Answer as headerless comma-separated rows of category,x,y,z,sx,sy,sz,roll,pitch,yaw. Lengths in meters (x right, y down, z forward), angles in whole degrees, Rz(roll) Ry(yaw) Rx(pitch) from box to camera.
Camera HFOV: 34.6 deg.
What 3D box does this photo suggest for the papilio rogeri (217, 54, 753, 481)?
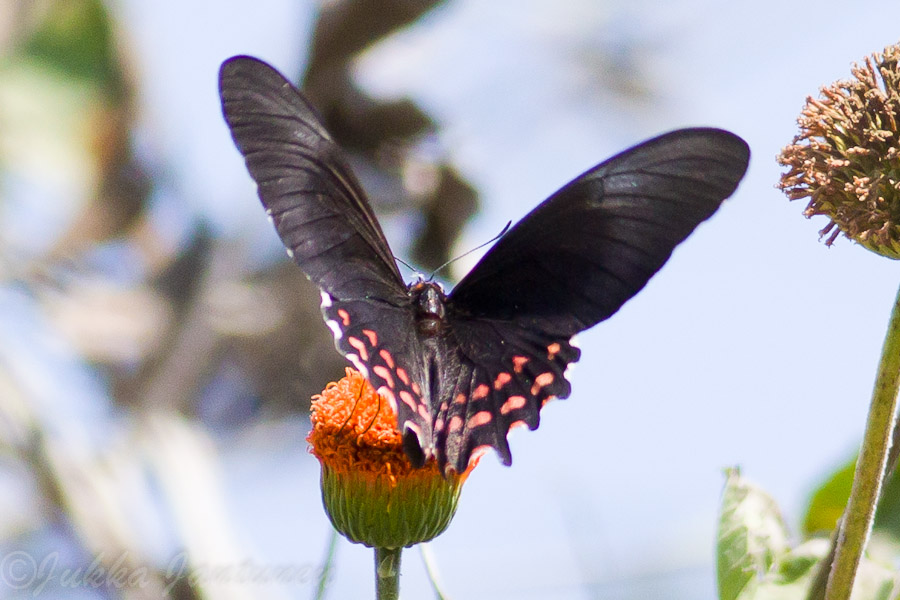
papilio rogeri,-0.016,-0.013,1.622,0.627,0.454,0.081,13,19,26
